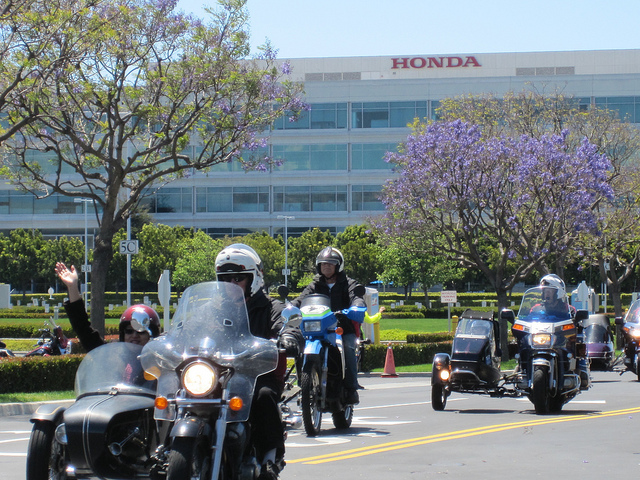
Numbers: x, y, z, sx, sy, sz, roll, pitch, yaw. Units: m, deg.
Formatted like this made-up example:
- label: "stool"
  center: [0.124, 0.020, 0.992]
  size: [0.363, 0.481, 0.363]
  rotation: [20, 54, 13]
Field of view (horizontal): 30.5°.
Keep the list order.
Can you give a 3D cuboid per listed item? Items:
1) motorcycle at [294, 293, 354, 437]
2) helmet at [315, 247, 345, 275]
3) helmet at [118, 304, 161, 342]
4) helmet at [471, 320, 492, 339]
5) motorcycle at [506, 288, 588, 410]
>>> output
- label: "motorcycle"
  center: [0.048, 2.619, 24.589]
  size: [0.634, 2.937, 1.552]
  rotation: [-2, -1, 35]
- label: "helmet"
  center: [0.232, 0.453, 25.743]
  size: [0.482, 0.540, 0.650]
  rotation: [2, 14, 16]
- label: "helmet"
  center: [-3.414, 1.533, 21.513]
  size: [0.585, 0.603, 0.491]
  rotation: [-8, -41, 18]
- label: "helmet"
  center: [3.784, 2.077, 27.357]
  size: [0.481, 0.402, 0.224]
  rotation: [-1, -1, 6]
- label: "motorcycle"
  center: [5.262, 2.491, 27.054]
  size: [1.364, 2.729, 1.280]
  rotation: [-1, -1, -9]
